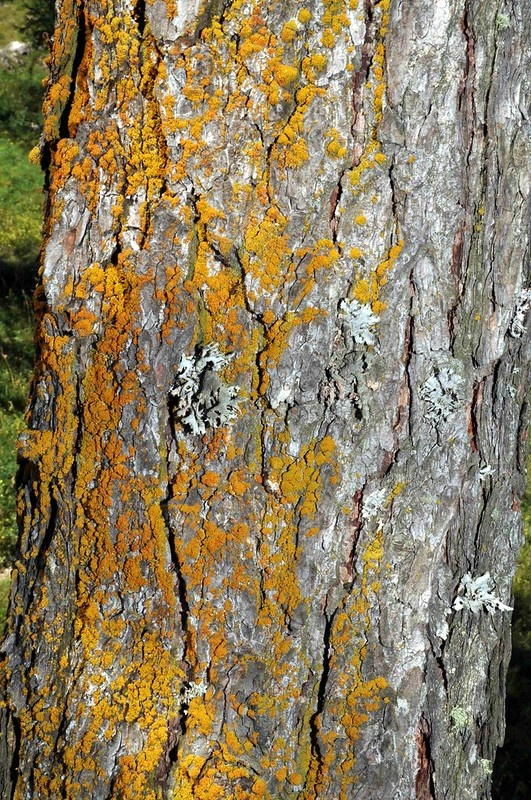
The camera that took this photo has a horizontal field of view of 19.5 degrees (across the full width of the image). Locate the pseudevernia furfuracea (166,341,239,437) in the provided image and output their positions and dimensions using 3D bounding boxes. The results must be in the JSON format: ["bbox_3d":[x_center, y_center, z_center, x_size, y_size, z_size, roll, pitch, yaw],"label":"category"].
[{"bbox_3d":[-0.162,-0.036,3.996,0.151,0.233,0.065,-13,-9,20],"label":"pseudevernia furfuracea"}]

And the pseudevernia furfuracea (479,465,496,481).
[{"bbox_3d":[0.606,0.194,4.226,0.035,0.045,0.011,15,3,-44],"label":"pseudevernia furfuracea"}]

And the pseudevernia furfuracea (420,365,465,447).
[{"bbox_3d":[0.468,0.003,4.053,0.093,0.220,0.064,-2,2,-16],"label":"pseudevernia furfuracea"}]
